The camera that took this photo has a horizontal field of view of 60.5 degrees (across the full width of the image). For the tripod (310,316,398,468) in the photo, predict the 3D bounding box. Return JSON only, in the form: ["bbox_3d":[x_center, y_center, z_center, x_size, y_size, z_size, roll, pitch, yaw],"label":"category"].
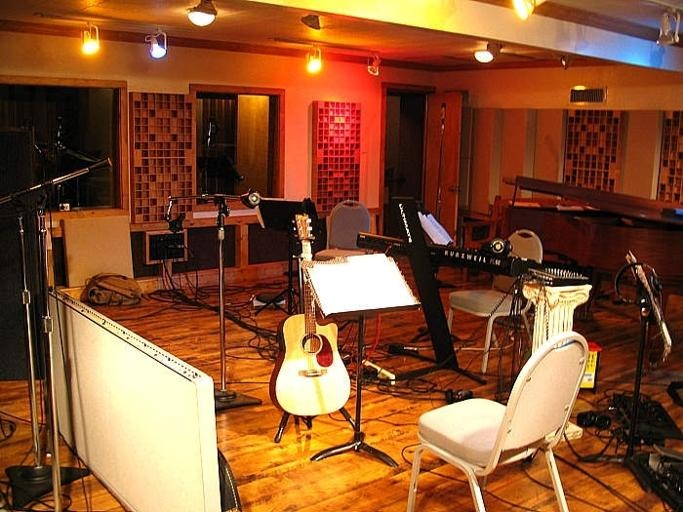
[{"bbox_3d":[0.097,0.706,3.685,0.515,1.153,0.533,1,25,0],"label":"tripod"}]

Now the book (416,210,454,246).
[{"bbox_3d":[0.763,-0.208,4.758,0.071,0.277,0.269,-35,11,4],"label":"book"}]

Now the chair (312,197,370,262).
[{"bbox_3d":[0.012,-0.106,6.508,0.564,1.021,0.644,3,7,16],"label":"chair"}]

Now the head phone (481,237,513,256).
[{"bbox_3d":[1.153,-0.066,4.360,0.205,0.122,0.153,-1,12,13],"label":"head phone"}]

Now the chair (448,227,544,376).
[{"bbox_3d":[1.336,0.366,5.153,0.676,1.234,0.667,0,7,-20],"label":"chair"}]

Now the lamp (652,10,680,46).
[{"bbox_3d":[3.081,-2.080,5.443,0.136,0.304,1.447,3,14,30],"label":"lamp"}]
